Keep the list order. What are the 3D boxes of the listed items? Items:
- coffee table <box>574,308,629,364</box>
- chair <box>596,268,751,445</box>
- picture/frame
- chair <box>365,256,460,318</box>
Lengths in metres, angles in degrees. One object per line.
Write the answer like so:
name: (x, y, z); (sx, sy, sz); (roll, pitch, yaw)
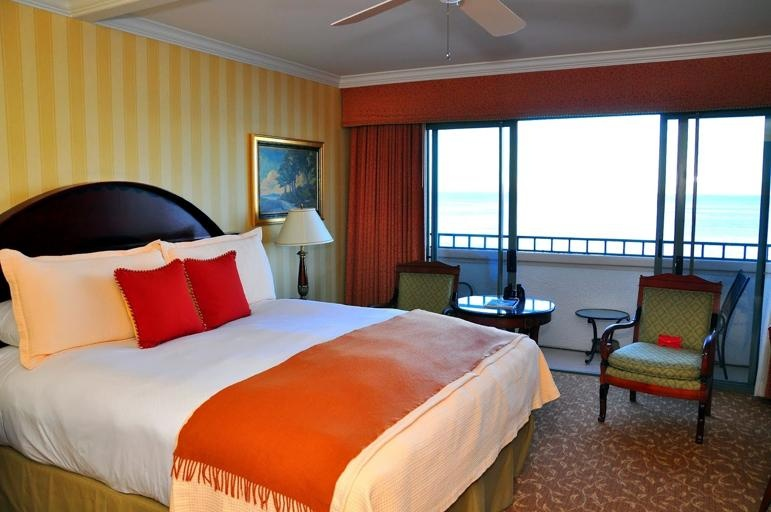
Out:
coffee table: (2.764, 0.980, 6.864); (0.554, 0.532, 0.535); (-12, 15, -30)
chair: (2.702, 0.922, 5.321); (0.991, 1.381, 1.021); (5, 11, 26)
picture/frame: (-1.169, -0.905, 6.421); (1.109, 0.973, 0.031); (5, 9, 29)
chair: (0.356, 0.358, 6.463); (0.705, 1.009, 0.716); (2, 1, 21)
